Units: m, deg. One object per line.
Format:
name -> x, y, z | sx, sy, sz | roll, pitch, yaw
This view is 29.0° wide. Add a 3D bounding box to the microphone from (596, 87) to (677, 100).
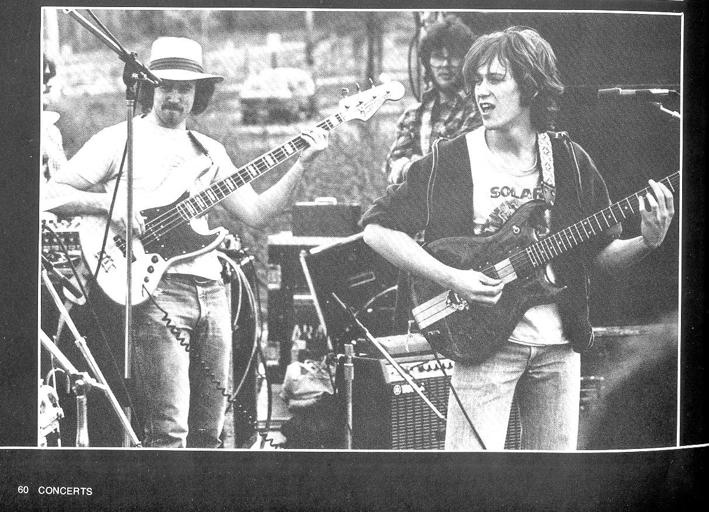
microphone -> 1.602, -0.928, 7.955 | 0.395, 0.044, 0.072 | 0, 2, 1
